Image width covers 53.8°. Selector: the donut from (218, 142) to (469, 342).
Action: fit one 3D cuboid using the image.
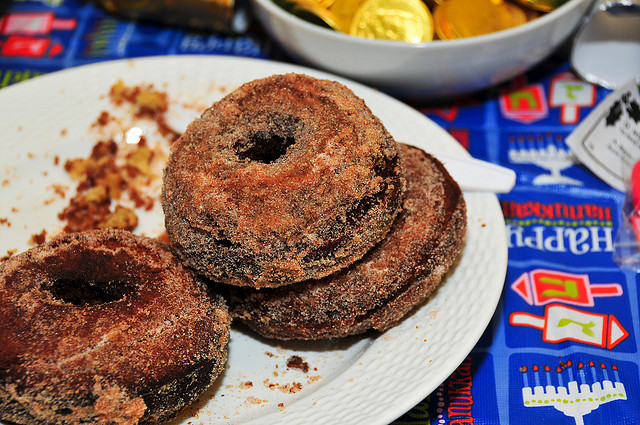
[{"bbox_3d":[0.121,0.142,1.724,0.590,0.159,0.589,-35,36,-12],"label":"donut"}]
